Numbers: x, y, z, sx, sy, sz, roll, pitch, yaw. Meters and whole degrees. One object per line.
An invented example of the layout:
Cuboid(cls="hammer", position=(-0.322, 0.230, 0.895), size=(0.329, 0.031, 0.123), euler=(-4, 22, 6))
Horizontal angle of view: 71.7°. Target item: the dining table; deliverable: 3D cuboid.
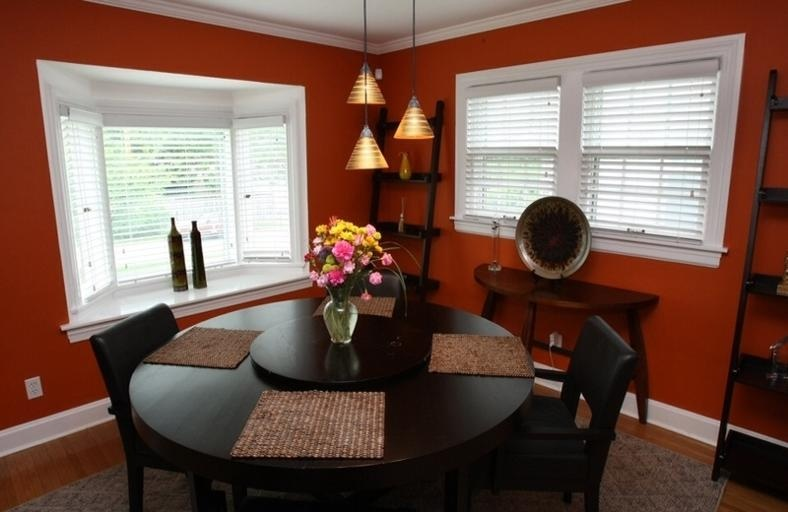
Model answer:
Cuboid(cls="dining table", position=(-0.343, 1.068, 3.351), size=(2.252, 1.051, 1.339), euler=(1, 14, 10))

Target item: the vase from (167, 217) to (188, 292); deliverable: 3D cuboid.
Cuboid(cls="vase", position=(-1.993, -0.026, 4.976), size=(0.147, 0.667, 0.232), euler=(-7, 14, -22))

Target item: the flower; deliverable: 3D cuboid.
Cuboid(cls="flower", position=(-0.337, 0.191, 3.503), size=(0.562, 0.695, 0.594), euler=(-1, -4, 33))

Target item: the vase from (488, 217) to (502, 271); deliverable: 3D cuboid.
Cuboid(cls="vase", position=(0.906, -0.101, 4.935), size=(0.111, 0.419, 0.312), euler=(1, 13, 10))

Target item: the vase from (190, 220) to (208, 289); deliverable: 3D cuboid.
Cuboid(cls="vase", position=(-1.826, -0.018, 4.993), size=(0.154, 0.626, 0.138), euler=(0, 13, 6))

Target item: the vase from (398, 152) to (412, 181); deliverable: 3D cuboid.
Cuboid(cls="vase", position=(0.103, -0.892, 5.422), size=(0.125, 0.267, 0.272), euler=(-1, 13, 1))
